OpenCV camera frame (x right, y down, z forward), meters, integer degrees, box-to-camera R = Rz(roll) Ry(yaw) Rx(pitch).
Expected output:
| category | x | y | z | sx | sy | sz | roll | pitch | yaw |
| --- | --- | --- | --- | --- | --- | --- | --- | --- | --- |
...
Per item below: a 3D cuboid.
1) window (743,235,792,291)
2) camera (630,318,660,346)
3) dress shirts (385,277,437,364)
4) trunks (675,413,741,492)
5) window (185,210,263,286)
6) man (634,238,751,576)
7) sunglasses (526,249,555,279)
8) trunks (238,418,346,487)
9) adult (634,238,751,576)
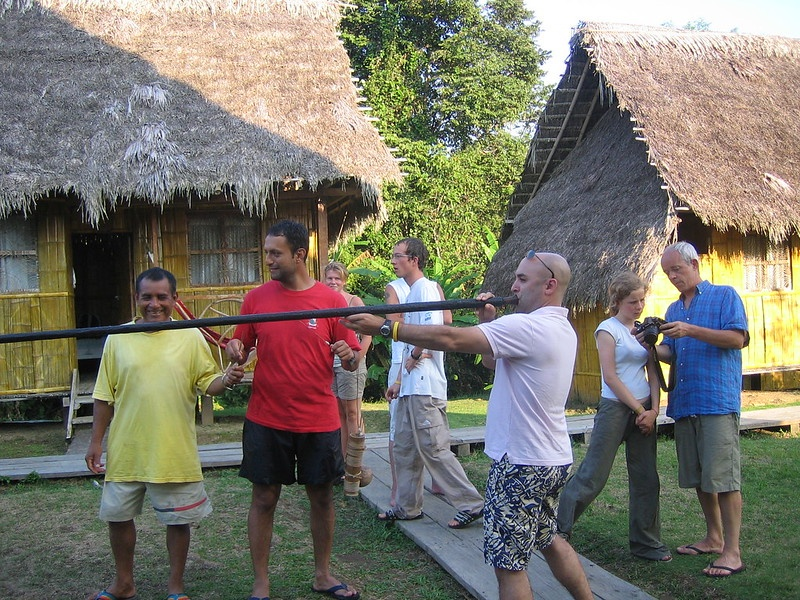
| category | x | y | z | sx | sy | sz | roll | pitch | yaw |
| --- | --- | --- | --- | --- | --- | --- | --- | --- | --- |
| window | 6.383 | -0.682 | 12.891 | 0.935 | 1.031 | 0.073 | 0 | -2 | -18 |
| camera | 2.009 | 0.231 | 5.949 | 0.210 | 0.218 | 0.105 | -14 | -23 | 22 |
| dress shirts | 0.026 | 0.250 | 6.782 | 0.282 | 1.007 | 0.422 | 22 | -34 | -29 |
| trunks | 2.416 | 1.181 | 5.772 | 0.304 | 0.550 | 0.442 | 19 | -25 | -23 |
| window | -2.842 | -0.844 | 11.644 | 1.203 | 1.305 | 0.106 | 1 | -3 | -14 |
| man | 2.399 | 0.808 | 5.875 | 0.676 | 2.552 | 0.594 | -1 | -1 | 25 |
| sunglasses | 0.941 | -0.248 | 4.810 | 0.199 | 0.059 | 0.142 | 36 | 0 | -18 |
| trunks | -0.822 | 0.944 | 5.545 | 0.773 | 0.589 | 0.459 | 1 | -4 | -7 |
| adult | 2.399 | 0.808 | 5.875 | 0.676 | 2.552 | 0.594 | -1 | -1 | 25 |
